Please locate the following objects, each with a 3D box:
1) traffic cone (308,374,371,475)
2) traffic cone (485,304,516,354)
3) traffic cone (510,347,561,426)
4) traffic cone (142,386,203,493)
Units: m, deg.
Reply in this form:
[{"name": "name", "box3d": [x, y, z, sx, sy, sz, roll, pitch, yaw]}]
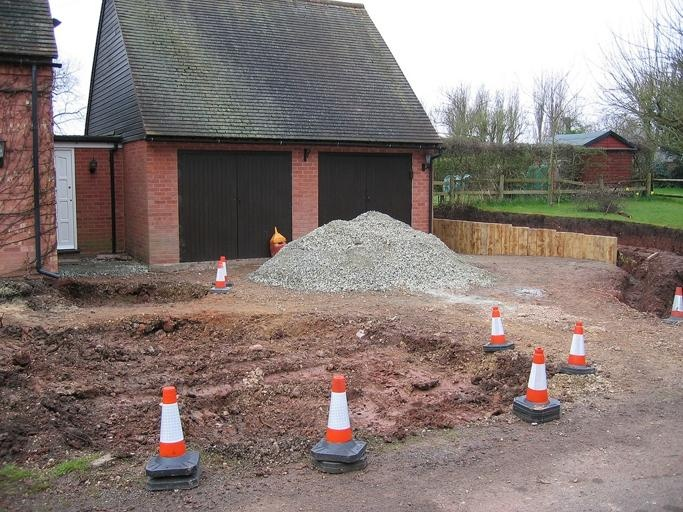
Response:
[{"name": "traffic cone", "box3d": [-0.021, 2.064, 7.748, 0.910, 1.290, 0.970, 0, 4, 0]}, {"name": "traffic cone", "box3d": [2.524, 1.172, 9.980, 0.513, 0.697, 0.551, 0, -8, -16]}, {"name": "traffic cone", "box3d": [2.618, 1.716, 8.127, 0.617, 0.934, 0.439, 4, 15, 20]}, {"name": "traffic cone", "box3d": [-1.983, 2.101, 7.042, 0.615, 1.068, 0.483, -6, 15, -16]}]
